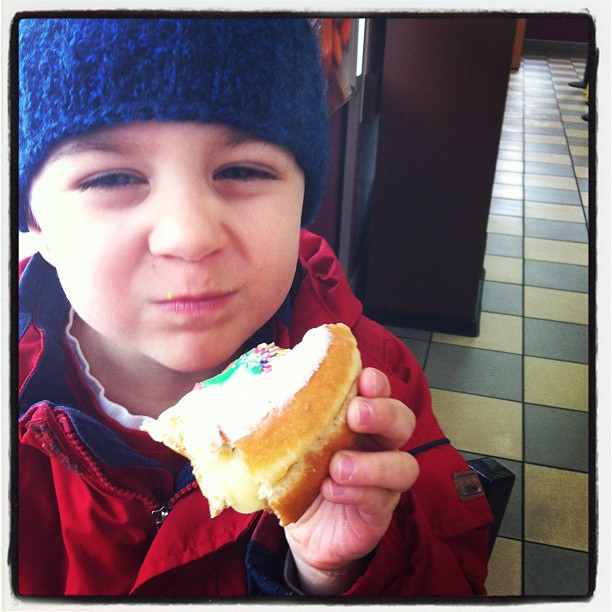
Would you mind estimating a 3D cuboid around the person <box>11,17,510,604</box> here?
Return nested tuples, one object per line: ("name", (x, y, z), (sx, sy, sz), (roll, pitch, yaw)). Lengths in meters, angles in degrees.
("person", (-0.089, 0.020, 0.888), (0.545, 0.257, 0.906), (-1, 93, -10))

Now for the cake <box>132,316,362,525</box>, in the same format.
("cake", (-0.056, 0.192, 0.838), (0.269, 0.107, 0.272), (-43, 64, 5))
